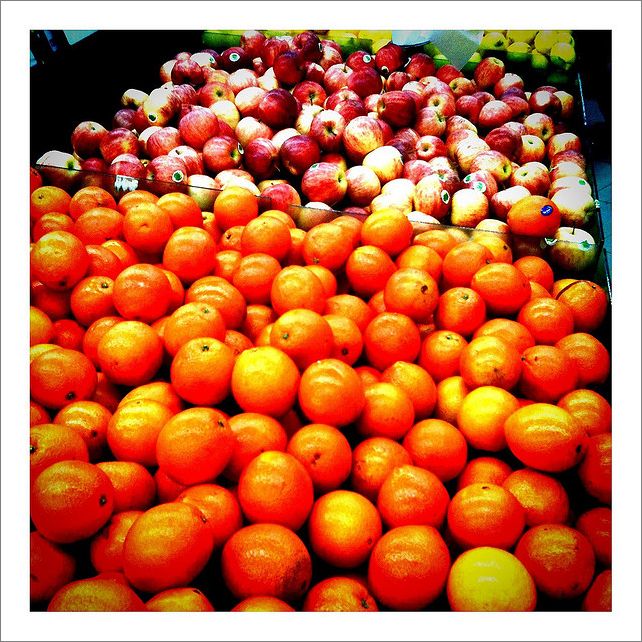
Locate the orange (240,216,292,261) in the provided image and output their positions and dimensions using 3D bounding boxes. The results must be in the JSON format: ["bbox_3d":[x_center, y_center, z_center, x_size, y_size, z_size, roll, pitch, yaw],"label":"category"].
[{"bbox_3d":[-0.194,-0.291,2.057,0.142,0.159,0.150,-4,31,-6],"label":"orange"}]

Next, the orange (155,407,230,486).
[{"bbox_3d":[-0.308,0.312,1.446,0.190,0.178,0.149,-8,16,-21],"label":"orange"}]

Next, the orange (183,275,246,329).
[{"bbox_3d":[-0.343,-0.084,1.932,0.165,0.185,0.157,5,11,42],"label":"orange"}]

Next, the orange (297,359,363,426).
[{"bbox_3d":[0.030,0.187,1.526,0.153,0.179,0.160,0,1,2],"label":"orange"}]

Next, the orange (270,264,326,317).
[{"bbox_3d":[-0.079,-0.107,1.865,0.145,0.194,0.145,-20,17,-7],"label":"orange"}]

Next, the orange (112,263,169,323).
[{"bbox_3d":[-0.560,-0.077,1.837,0.180,0.187,0.096,-7,15,-17],"label":"orange"}]

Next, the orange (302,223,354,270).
[{"bbox_3d":[0.028,-0.263,2.170,0.157,0.170,0.165,-16,16,14],"label":"orange"}]

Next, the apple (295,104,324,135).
[{"bbox_3d":[-0.086,-1.195,3.485,0.161,0.191,0.203,12,5,-6],"label":"apple"}]

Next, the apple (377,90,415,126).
[{"bbox_3d":[0.430,-1.247,3.500,0.222,0.215,0.197,-7,28,-22],"label":"apple"}]

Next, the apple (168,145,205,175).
[{"bbox_3d":[-0.729,-0.874,3.168,0.159,0.177,0.181,-3,-32,-8],"label":"apple"}]

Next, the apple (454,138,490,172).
[{"bbox_3d":[0.868,-0.940,3.343,0.139,0.183,0.147,22,-11,40],"label":"apple"}]

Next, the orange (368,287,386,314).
[{"bbox_3d":[0.200,-0.075,2.054,0.065,0.075,0.071,-4,1,1],"label":"orange"}]

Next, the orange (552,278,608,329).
[{"bbox_3d":[0.930,-0.077,2.172,0.175,0.247,0.182,-5,4,-26],"label":"orange"}]

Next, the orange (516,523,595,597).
[{"bbox_3d":[0.564,0.550,1.393,0.161,0.104,0.165,13,19,32],"label":"orange"}]

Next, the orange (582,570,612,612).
[{"bbox_3d":[0.650,0.635,1.356,0.037,0.079,0.072,17,4,15],"label":"orange"}]

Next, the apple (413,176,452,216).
[{"bbox_3d":[0.582,-0.637,3.043,0.190,0.225,0.144,-2,14,2],"label":"apple"}]

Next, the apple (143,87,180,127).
[{"bbox_3d":[-0.944,-1.259,3.456,0.222,0.221,0.137,-7,15,-18],"label":"apple"}]

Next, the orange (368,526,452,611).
[{"bbox_3d":[0.208,0.568,1.351,0.195,0.164,0.188,-11,-10,-1],"label":"orange"}]

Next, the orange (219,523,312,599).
[{"bbox_3d":[-0.118,0.520,1.300,0.163,0.150,0.144,4,-20,7],"label":"orange"}]

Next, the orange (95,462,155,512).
[{"bbox_3d":[-0.484,0.417,1.442,0.110,0.125,0.120,0,-17,-11],"label":"orange"}]

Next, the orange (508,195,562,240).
[{"bbox_3d":[0.987,-0.469,2.779,0.225,0.244,0.233,15,10,13],"label":"orange"}]

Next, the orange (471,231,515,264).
[{"bbox_3d":[0.671,-0.286,2.300,0.110,0.140,0.117,-2,42,41],"label":"orange"}]

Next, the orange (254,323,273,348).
[{"bbox_3d":[-0.173,0.054,1.823,0.058,0.085,0.064,5,-17,10],"label":"orange"}]

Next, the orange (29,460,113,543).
[{"bbox_3d":[-0.554,0.402,1.388,0.166,0.189,0.174,1,-28,4],"label":"orange"}]

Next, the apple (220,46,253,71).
[{"bbox_3d":[-0.577,-1.777,3.985,0.217,0.173,0.136,-5,15,-10],"label":"apple"}]

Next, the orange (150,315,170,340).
[{"bbox_3d":[-0.505,0.018,1.831,0.062,0.074,0.068,2,5,-3],"label":"orange"}]

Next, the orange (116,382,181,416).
[{"bbox_3d":[-0.468,0.209,1.643,0.123,0.112,0.112,0,21,-10],"label":"orange"}]

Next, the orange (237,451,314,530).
[{"bbox_3d":[-0.094,0.377,1.399,0.156,0.217,0.170,0,0,2],"label":"orange"}]

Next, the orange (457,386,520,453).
[{"bbox_3d":[0.456,0.262,1.631,0.150,0.199,0.168,0,-1,3],"label":"orange"}]

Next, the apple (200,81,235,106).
[{"bbox_3d":[-0.660,-1.380,3.683,0.167,0.202,0.177,-2,-4,-5],"label":"apple"}]

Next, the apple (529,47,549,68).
[{"bbox_3d":[1.502,-1.778,4.008,0.087,0.125,0.064,-8,-16,3],"label":"apple"}]

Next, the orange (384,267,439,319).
[{"bbox_3d":[0.309,-0.088,1.975,0.149,0.174,0.154,12,-15,45],"label":"orange"}]

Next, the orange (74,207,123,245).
[{"bbox_3d":[-0.805,-0.342,2.100,0.153,0.157,0.139,-5,13,-23],"label":"orange"}]

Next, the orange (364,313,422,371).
[{"bbox_3d":[0.231,0.063,1.892,0.153,0.209,0.166,2,1,5],"label":"orange"}]

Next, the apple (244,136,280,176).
[{"bbox_3d":[-0.331,-0.883,3.246,0.177,0.207,0.227,7,12,-22],"label":"apple"}]

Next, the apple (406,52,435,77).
[{"bbox_3d":[0.671,-1.712,3.955,0.255,0.179,0.140,-15,19,-39],"label":"apple"}]

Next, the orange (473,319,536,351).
[{"bbox_3d":[0.601,0.039,1.858,0.121,0.140,0.124,2,12,3],"label":"orange"}]

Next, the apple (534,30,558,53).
[{"bbox_3d":[1.533,-1.887,3.953,0.127,0.139,0.206,-1,15,5],"label":"apple"}]

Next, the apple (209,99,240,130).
[{"bbox_3d":[-0.573,-1.237,3.506,0.158,0.182,0.163,0,4,2],"label":"apple"}]

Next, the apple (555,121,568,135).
[{"bbox_3d":[1.507,-1.203,3.651,0.074,0.056,0.099,11,49,17],"label":"apple"}]

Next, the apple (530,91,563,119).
[{"bbox_3d":[1.420,-1.347,3.680,0.116,0.122,0.139,-32,73,-36],"label":"apple"}]

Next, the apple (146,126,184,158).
[{"bbox_3d":[-0.887,-1.001,3.367,0.162,0.195,0.171,6,17,43],"label":"apple"}]

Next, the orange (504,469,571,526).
[{"bbox_3d":[0.566,0.472,1.555,0.124,0.145,0.147,21,-28,9],"label":"orange"}]

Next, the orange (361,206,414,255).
[{"bbox_3d":[0.244,-0.331,2.178,0.180,0.174,0.176,-2,45,13],"label":"orange"}]

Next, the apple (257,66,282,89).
[{"bbox_3d":[-0.330,-1.525,3.772,0.130,0.185,0.095,-5,-9,11],"label":"apple"}]

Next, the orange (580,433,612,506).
[{"bbox_3d":[0.736,0.389,1.550,0.104,0.155,0.080,10,-20,-27],"label":"orange"}]

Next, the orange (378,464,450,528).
[{"bbox_3d":[0.230,0.406,1.468,0.130,0.178,0.146,-5,3,0],"label":"orange"}]

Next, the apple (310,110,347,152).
[{"bbox_3d":[0.051,-1.050,3.389,0.192,0.220,0.239,27,3,-2],"label":"apple"}]

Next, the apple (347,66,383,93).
[{"bbox_3d":[0.280,-1.484,3.651,0.209,0.184,0.123,-1,14,5],"label":"apple"}]

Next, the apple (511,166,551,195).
[{"bbox_3d":[1.151,-0.789,3.190,0.170,0.190,0.134,21,-19,33],"label":"apple"}]

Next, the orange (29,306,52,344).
[{"bbox_3d":[-0.852,0.017,1.772,0.062,0.082,0.065,-20,14,39],"label":"orange"}]

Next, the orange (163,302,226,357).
[{"bbox_3d":[-0.366,0.015,1.707,0.144,0.194,0.153,3,29,-10],"label":"orange"}]

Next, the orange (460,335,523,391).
[{"bbox_3d":[0.497,0.125,1.780,0.150,0.163,0.153,9,-35,-26],"label":"orange"}]
